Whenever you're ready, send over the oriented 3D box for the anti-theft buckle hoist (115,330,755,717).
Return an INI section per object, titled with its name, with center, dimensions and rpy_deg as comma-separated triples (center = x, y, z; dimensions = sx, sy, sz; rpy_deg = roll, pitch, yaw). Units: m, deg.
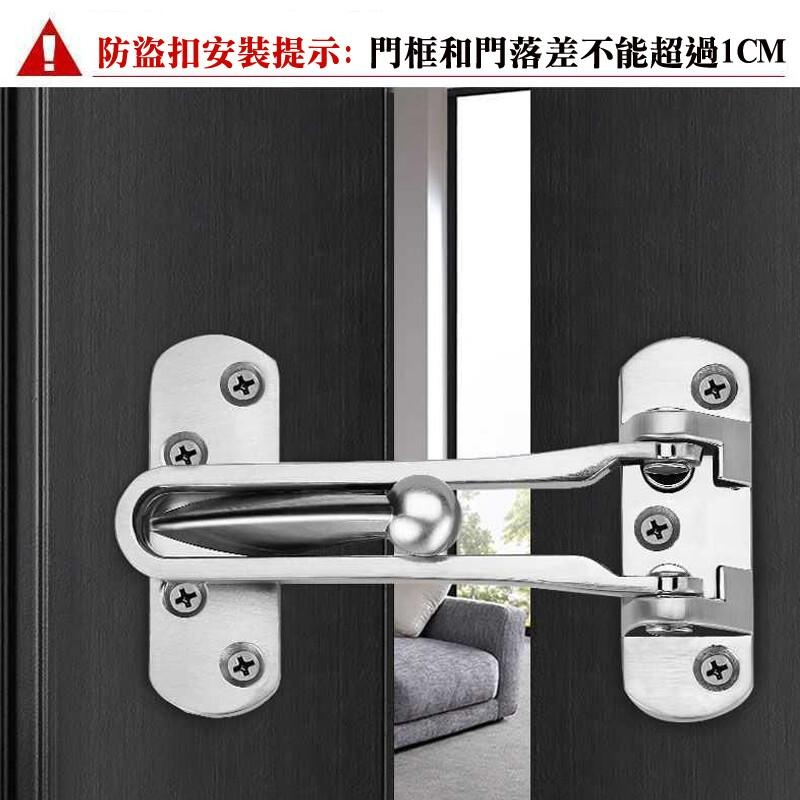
[anti-theft buckle hoist]
center = 0.018, 0.072, 0.654
dimensions = 0.356, 0.188, 0.069
rpy_deg = 0, -6, 4
